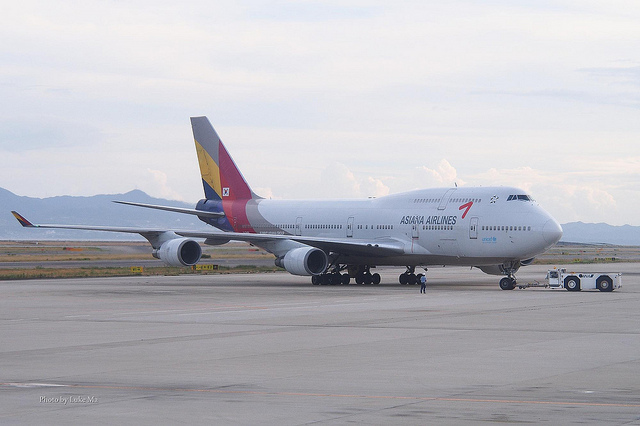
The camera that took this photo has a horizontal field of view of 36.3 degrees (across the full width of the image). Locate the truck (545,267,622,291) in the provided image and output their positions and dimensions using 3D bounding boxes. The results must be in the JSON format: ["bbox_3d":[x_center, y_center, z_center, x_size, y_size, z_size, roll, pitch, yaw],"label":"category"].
[{"bbox_3d":[12.660,3.204,46.943,2.911,0.607,1.355,1,0,16],"label":"truck"}]

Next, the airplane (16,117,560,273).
[{"bbox_3d":[1.788,0.730,52.357,17.645,3.701,18.565,-1,0,37],"label":"airplane"}]
